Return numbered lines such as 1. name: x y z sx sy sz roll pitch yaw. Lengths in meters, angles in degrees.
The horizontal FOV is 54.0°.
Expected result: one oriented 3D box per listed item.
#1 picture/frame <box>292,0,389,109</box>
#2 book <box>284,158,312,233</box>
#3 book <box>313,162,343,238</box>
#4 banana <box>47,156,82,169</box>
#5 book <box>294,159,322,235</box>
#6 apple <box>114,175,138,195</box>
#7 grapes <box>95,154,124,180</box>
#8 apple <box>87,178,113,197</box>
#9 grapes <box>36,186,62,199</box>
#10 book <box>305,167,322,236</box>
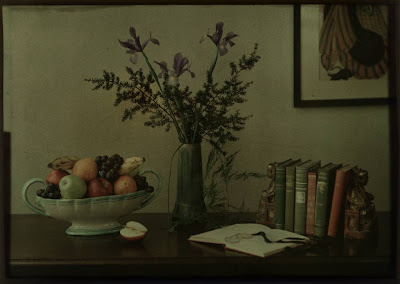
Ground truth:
1. picture/frame: 0.598 -0.390 1.682 0.446 0.467 0.034 -1 3 2
2. book: 0.339 0.199 1.360 0.079 0.210 0.229 3 1 22
3. book: 0.433 0.206 1.328 0.044 0.214 0.223 5 -15 13
4. banana: -0.473 0.066 1.354 0.087 0.029 0.048 -6 0 -31
5. book: 0.369 0.201 1.347 0.079 0.236 0.222 1 4 22
6. apple: -0.254 0.149 1.341 0.065 0.063 0.062 15 -19 -18
7. grapes: -0.328 0.093 1.394 0.087 0.085 0.053 -15 -10 -46
8. apple: -0.340 0.163 1.360 0.066 0.063 0.066 32 -31 -24
9. grapes: -0.496 0.165 1.298 0.069 0.041 0.032 -1 -15 9
10. book: 0.378 0.212 1.334 0.039 0.167 0.159 -2 -7 13
